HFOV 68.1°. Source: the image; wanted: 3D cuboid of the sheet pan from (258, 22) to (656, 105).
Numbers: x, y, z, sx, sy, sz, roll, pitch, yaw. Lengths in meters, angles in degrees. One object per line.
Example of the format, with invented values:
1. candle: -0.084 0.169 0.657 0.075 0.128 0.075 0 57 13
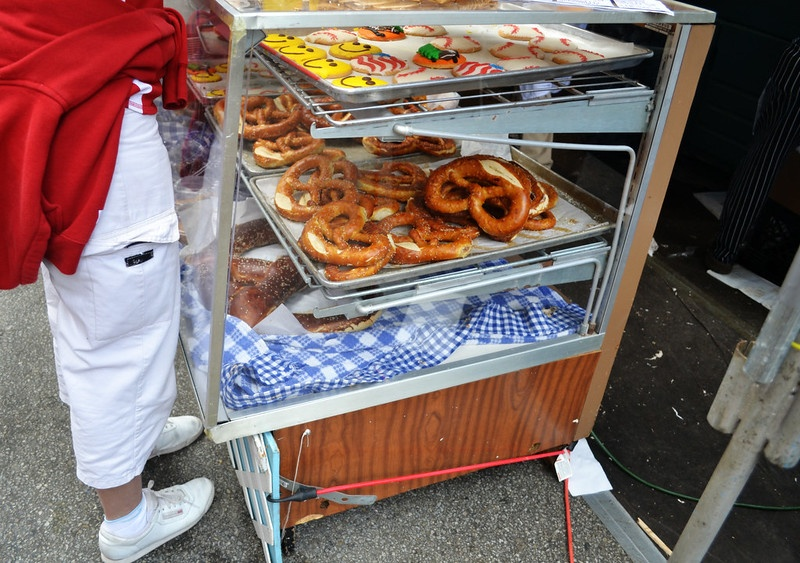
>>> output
1. sheet pan: 0.196 -0.964 2.406 1.429 0.190 0.832 -12 36 -15

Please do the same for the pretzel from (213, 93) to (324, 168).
1. pretzel: -0.543 -0.700 2.705 0.434 0.133 0.405 -8 48 -32

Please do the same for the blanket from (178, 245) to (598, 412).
1. blanket: -0.094 0.274 2.563 1.238 0.126 0.843 -11 36 -19
